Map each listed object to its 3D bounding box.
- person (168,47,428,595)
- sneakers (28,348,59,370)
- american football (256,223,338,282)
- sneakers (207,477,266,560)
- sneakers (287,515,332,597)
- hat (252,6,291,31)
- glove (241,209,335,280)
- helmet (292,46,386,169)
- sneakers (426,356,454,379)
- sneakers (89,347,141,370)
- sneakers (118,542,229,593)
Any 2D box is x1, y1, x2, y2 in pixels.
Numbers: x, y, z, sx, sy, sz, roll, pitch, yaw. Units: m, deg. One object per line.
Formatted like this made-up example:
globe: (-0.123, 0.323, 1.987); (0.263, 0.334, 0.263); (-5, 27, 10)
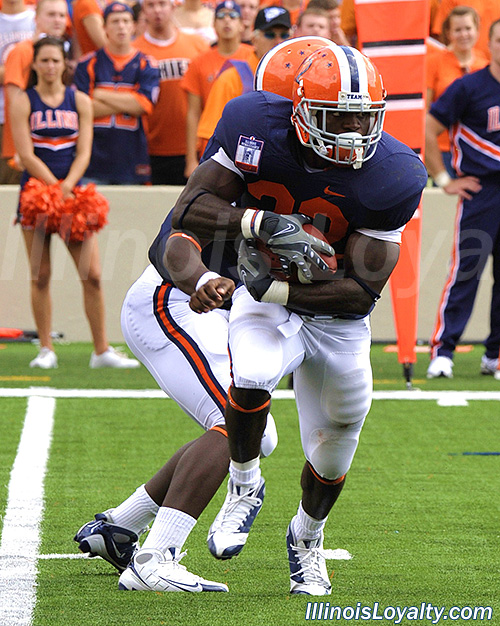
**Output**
person: (0.104, 0.029, 2.024); (0.585, 1.311, 0.315); (1, 8, -6)
sneakers: (-1.117, 0.246, 4.580); (0.089, 0.070, 0.157); (0, -7, 3)
american football: (0.116, -0.112, 1.962); (0.183, 0.115, 0.149); (16, -20, -4)
sneakers: (0.002, 0.490, 2.083); (0.093, 0.109, 0.246); (14, 51, 12)
sneakers: (0.153, 0.609, 2.105); (0.068, 0.069, 0.168); (-1, 55, -4)
hat: (0.128, -1.683, 4.850); (0.212, 0.152, 0.160); (3, 8, 5)
glove: (0.069, -0.148, 1.939); (0.200, 0.070, 0.144); (11, 41, 38)
helmet: (0.198, -0.465, 1.903); (0.201, 0.273, 0.191); (2, 8, -2)
sneakers: (1.050, 0.298, 4.664); (0.151, 0.053, 0.204); (3, 2, 6)
sneakers: (-0.758, 0.248, 4.772); (0.330, 0.109, 0.102); (2, 12, -20)
sneakers: (-0.202, 0.604, 2.012); (0.296, 0.106, 0.088); (3, -8, -4)
